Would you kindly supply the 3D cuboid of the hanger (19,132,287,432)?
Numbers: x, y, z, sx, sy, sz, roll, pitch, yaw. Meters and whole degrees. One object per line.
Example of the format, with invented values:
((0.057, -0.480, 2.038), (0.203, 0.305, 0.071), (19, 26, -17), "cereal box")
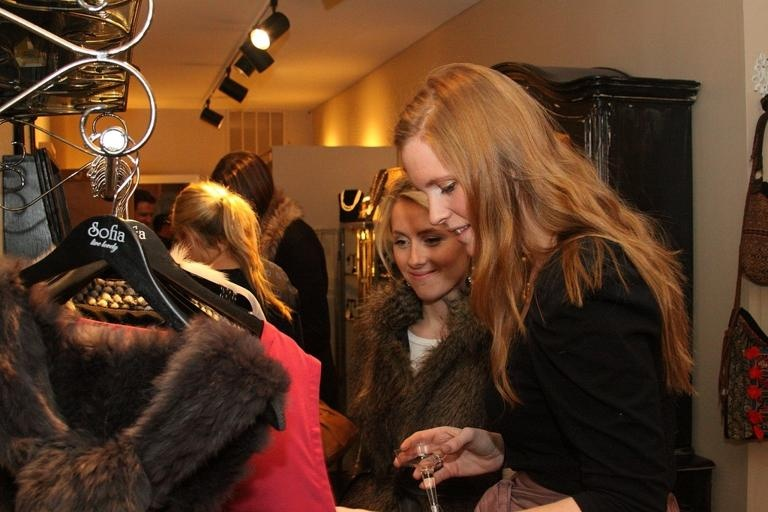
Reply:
((-0.347, 0.078, 1.371), (0.530, 0.349, 0.503), (2, 8, 17), "hanger")

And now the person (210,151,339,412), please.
((-0.681, 0.280, 3.626), (0.701, 1.733, 0.563), (6, 15, 17), "person")

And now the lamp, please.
((-1.391, -1.885, 6.404), (0.547, 0.318, 1.799), (39, -28, -20), "lamp")
